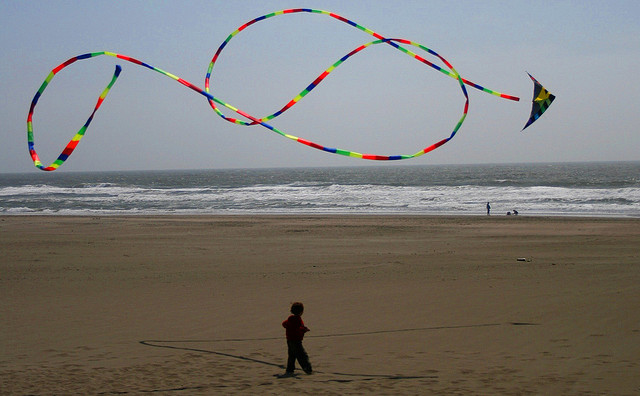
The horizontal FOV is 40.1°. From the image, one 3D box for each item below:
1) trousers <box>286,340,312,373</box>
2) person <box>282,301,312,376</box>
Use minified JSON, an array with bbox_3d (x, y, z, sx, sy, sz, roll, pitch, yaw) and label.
[{"bbox_3d":[-0.562,4.081,22.537,0.638,0.794,0.226,-4,-1,-1],"label":"trousers"},{"bbox_3d":[-0.609,3.644,22.642,0.720,1.784,0.579,-4,-1,-1],"label":"person"}]
